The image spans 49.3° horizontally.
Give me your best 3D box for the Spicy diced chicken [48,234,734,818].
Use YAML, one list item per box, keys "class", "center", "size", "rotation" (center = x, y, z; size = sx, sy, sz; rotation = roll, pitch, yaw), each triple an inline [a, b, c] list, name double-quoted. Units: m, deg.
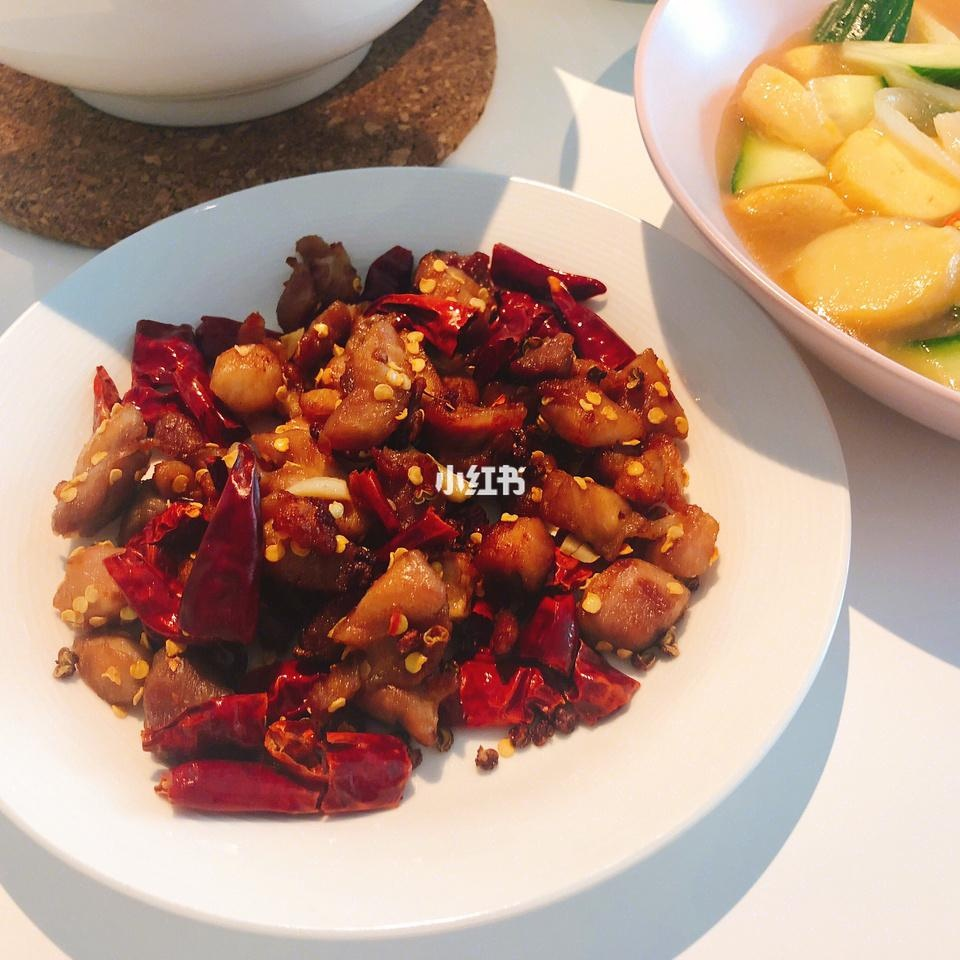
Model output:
- class: "Spicy diced chicken"
  center: [-0.096, 0.098, 1.203]
  size: [0.664, 0.171, 0.507]
  rotation: [-3, 66, -7]
